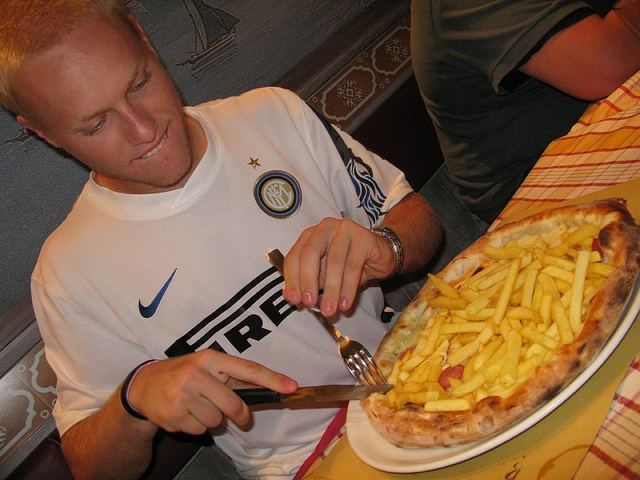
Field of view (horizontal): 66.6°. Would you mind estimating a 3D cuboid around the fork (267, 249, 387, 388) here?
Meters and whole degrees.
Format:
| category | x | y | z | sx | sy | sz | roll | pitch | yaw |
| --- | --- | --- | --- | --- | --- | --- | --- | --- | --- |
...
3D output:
| category | x | y | z | sx | sy | sz | roll | pitch | yaw |
| --- | --- | --- | --- | --- | --- | --- | --- | --- | --- |
| fork | 0.038 | 0.271 | 1.429 | 0.077 | 0.047 | 0.555 | -22 | 29 | -17 |
